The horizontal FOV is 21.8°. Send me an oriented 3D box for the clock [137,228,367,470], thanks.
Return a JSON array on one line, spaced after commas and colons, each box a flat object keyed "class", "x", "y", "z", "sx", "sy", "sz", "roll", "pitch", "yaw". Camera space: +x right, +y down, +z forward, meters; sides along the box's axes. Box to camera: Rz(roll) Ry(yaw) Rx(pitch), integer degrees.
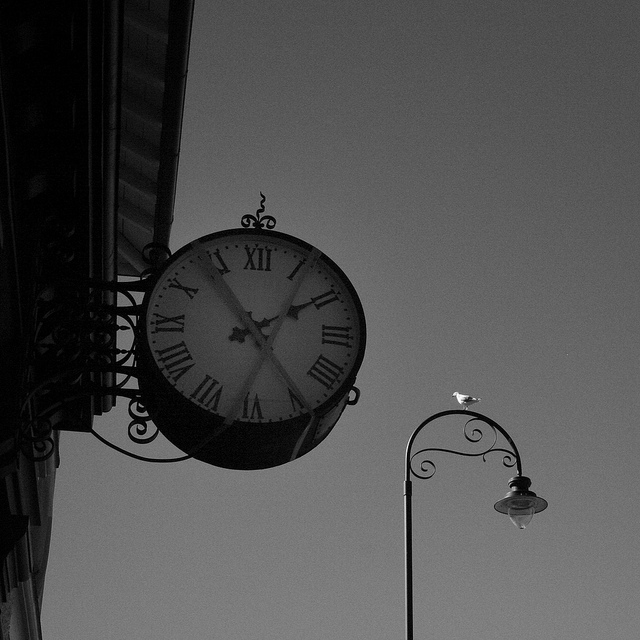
[{"class": "clock", "x": -0.459, "y": 0.210, "z": 9.981, "sx": 1.212, "sy": 1.403, "sz": 0.468, "roll": 7, "pitch": -35, "yaw": -9}]
